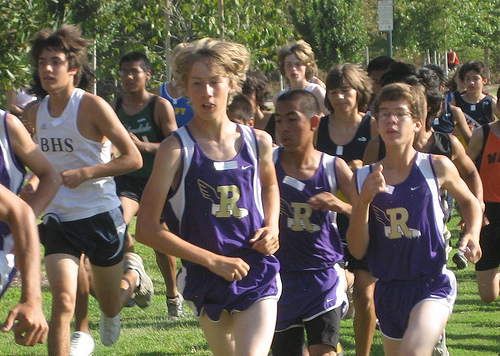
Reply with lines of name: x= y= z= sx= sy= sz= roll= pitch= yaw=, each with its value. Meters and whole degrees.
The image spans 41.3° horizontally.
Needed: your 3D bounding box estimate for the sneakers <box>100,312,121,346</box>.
sneakers: x=-1.379 y=1.493 z=6.538 sx=0.187 sy=0.370 sz=0.281 roll=1 pitch=-2 yaw=-14
